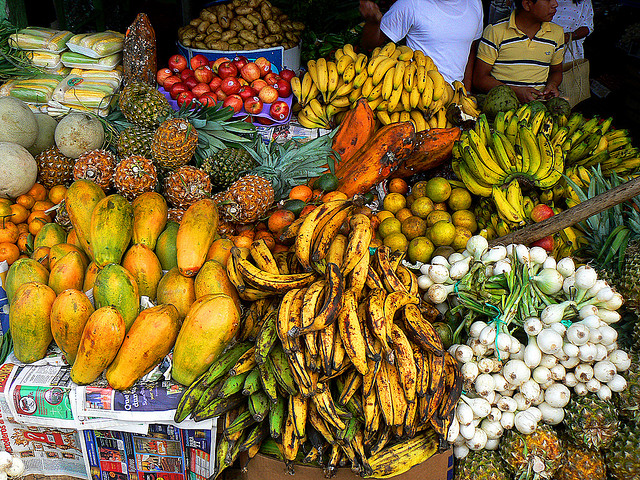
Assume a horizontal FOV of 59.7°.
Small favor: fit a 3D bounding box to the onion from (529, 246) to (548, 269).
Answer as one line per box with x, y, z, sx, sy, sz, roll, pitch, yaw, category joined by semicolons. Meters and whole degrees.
1.606;0.127;4.099;0.136;0.121;0.108;-19;7;-2;onion

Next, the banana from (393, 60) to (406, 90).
0.734;-1.532;5.174;0.075;0.078;0.309;4;71;26;banana

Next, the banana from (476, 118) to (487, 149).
1.377;-0.926;4.777;0.076;0.260;0.068;-5;-9;-31;banana

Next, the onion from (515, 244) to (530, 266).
1.493;0.104;4.079;0.076;0.063;0.145;-26;67;9;onion

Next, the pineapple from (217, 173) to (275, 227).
-0.574;-0.322;4.483;0.403;0.334;0.291;-33;67;-26;pineapple

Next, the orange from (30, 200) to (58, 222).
-2.277;-0.283;4.661;0.201;0.229;0.254;-2;13;-16;orange

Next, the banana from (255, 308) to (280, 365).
-0.361;0.626;3.698;0.140;0.173;0.570;4;24;4;banana

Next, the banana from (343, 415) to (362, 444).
0.207;1.200;3.529;0.056;0.053;0.201;23;46;3;banana

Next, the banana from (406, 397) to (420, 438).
0.609;1.158;3.584;0.057;0.296;0.065;11;-9;-25;banana

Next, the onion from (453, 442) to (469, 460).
0.981;1.464;3.854;0.068;0.094;0.124;18;45;-25;onion

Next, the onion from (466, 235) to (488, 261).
1.164;0.059;4.124;0.131;0.185;0.084;1;-1;14;onion

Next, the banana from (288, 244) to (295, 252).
-0.204;0.057;4.147;0.018;0.038;0.055;23;72;-16;banana

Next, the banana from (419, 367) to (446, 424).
0.714;1.038;3.603;0.107;0.401;0.127;23;-8;-24;banana

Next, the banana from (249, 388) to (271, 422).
-0.384;1.049;3.607;0.100;0.078;0.223;-7;43;3;banana

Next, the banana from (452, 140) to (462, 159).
1.172;-0.771;4.744;0.029;0.125;0.072;2;-7;-32;banana

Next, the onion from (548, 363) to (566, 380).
1.638;0.902;3.820;0.086;0.110;0.062;3;-10;-9;onion

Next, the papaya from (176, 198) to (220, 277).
-0.856;-0.058;3.980;0.228;0.239;0.543;30;47;-17;papaya

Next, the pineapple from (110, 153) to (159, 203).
-1.517;-0.585;4.522;0.402;0.450;0.415;-3;0;-12;pineapple

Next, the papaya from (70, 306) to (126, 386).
-1.396;0.662;3.665;0.239;0.563;0.244;23;6;-6;papaya

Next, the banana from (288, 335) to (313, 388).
-0.135;0.793;3.519;0.135;0.428;0.079;-4;-10;-31;banana

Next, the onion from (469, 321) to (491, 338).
1.112;0.609;3.868;0.104;0.138;0.102;5;3;-44;onion

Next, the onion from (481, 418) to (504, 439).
1.189;1.307;3.867;0.140;0.110;0.118;22;61;-13;onion

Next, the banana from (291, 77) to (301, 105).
-0.222;-1.465;5.415;0.088;0.074;0.276;-5;78;-5;banana

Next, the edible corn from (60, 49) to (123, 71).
-2.239;-1.747;5.439;0.574;0.158;0.218;-3;36;-14;edible corn

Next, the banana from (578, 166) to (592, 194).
2.339;-0.534;4.884;0.059;0.222;0.062;-5;-9;6;banana

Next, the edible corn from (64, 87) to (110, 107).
-2.159;-1.342;5.150;0.227;0.076;0.240;12;44;5;edible corn

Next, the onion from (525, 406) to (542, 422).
1.486;1.188;3.848;0.095;0.055;0.098;-27;80;-36;onion

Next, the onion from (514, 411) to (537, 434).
1.398;1.236;3.773;0.134;0.121;0.077;48;8;19;onion

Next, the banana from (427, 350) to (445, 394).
0.752;0.839;3.612;0.080;0.098;0.310;10;71;-6;banana

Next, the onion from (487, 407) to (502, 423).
1.201;1.195;3.799;0.087;0.099;0.054;6;4;-4;onion

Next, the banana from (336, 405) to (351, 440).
0.151;1.136;3.541;0.050;0.063;0.252;5;76;3;banana

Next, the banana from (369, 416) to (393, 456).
0.399;1.266;3.588;0.101;0.077;0.304;23;75;0;banana

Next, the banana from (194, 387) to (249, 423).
-0.641;1.054;3.575;0.366;0.136;0.078;-23;30;-23;banana

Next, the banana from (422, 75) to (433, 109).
1.009;-1.389;5.226;0.076;0.319;0.095;-1;6;-12;banana

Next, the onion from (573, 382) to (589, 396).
1.809;1.028;3.843;0.065;0.097;0.052;-12;-4;26;onion

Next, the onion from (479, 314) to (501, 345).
1.172;0.616;3.804;0.062;0.061;0.165;35;71;15;onion

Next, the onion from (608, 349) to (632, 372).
2.081;0.826;3.842;0.144;0.108;0.119;36;62;-21;onion

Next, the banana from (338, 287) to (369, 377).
0.191;0.578;3.566;0.162;0.110;0.542;16;58;-42;banana

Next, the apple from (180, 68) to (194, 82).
-1.319;-1.663;5.563;0.121;0.156;0.132;4;46;-20;apple

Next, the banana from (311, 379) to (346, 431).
0.077;1.058;3.503;0.239;0.233;0.159;33;42;33;banana

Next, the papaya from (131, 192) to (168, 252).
-1.238;-0.148;4.078;0.193;0.208;0.453;22;53;-21;papaya

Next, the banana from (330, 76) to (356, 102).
0.236;-1.412;5.217;0.079;0.292;0.118;42;18;-4;banana

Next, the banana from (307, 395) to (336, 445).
0.020;1.121;3.590;0.163;0.532;0.142;-15;48;-16;banana

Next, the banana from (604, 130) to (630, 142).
2.756;-0.991;5.180;0.287;0.119;0.089;-11;27;-18;banana

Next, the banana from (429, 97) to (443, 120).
1.131;-1.276;5.346;0.063;0.249;0.084;25;7;-5;banana

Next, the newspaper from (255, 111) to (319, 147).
-0.314;-1.072;5.361;0.412;0.353;0.134;-3;-11;3;newspaper

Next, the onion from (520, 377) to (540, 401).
1.452;1.021;3.825;0.100;0.151;0.083;-11;-14;13;onion

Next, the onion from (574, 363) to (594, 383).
1.809;0.899;3.796;0.109;0.125;0.069;-1;-4;11;onion
